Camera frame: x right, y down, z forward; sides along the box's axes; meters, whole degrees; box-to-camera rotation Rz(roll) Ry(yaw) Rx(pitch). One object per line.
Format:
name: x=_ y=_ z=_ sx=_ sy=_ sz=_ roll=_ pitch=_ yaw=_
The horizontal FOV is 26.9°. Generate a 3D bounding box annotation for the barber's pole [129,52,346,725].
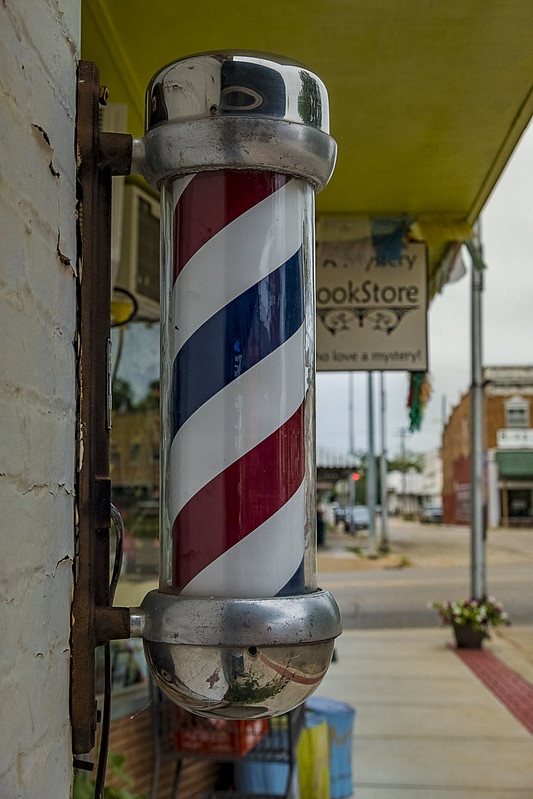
barber's pole: x=-0.027 y=-0.008 z=1.026 sx=0.197 sy=0.601 sz=0.135 roll=0 pitch=-4 yaw=-11
